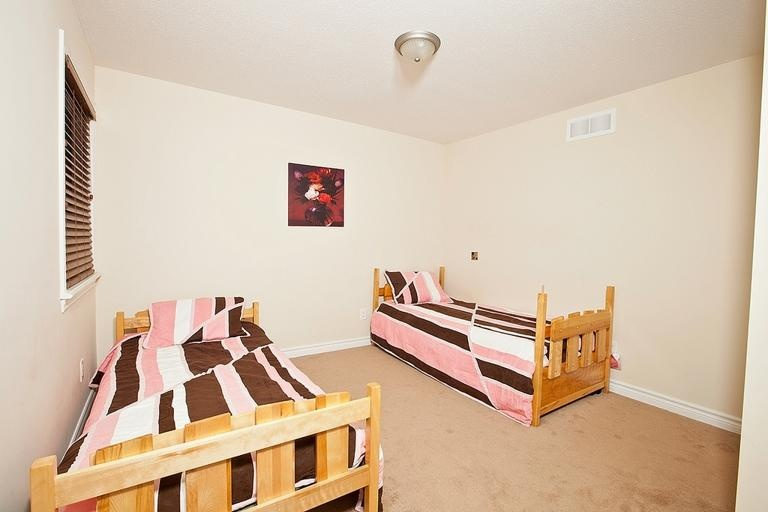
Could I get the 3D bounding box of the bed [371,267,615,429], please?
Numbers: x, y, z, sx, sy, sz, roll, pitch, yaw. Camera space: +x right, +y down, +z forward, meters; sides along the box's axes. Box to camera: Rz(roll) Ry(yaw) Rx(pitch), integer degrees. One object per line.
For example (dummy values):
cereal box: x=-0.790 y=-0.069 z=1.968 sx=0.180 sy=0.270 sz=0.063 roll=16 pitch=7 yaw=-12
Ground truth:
bed: x=0.930 y=0.739 z=4.860 sx=1.180 sy=0.850 sz=1.829 roll=-2 pitch=4 yaw=-34

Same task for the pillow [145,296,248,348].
pillow: x=-1.689 y=0.563 z=4.480 sx=0.906 sy=0.249 sz=0.532 roll=-8 pitch=42 yaw=-25

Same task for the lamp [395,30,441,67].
lamp: x=0.277 y=-1.704 z=4.021 sx=0.399 sy=0.175 sz=0.419 roll=-3 pitch=-5 yaw=4
